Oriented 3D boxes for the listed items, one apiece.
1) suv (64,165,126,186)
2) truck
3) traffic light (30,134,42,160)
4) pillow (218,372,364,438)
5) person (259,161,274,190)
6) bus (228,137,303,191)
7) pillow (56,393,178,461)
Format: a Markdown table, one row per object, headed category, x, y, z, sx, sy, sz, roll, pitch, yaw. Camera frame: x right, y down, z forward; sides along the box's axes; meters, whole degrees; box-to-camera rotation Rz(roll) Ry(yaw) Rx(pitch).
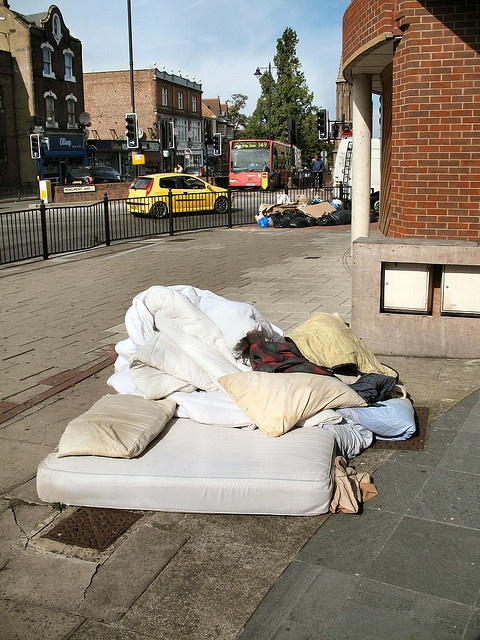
| category | x | y | z | sx | sy | sz | roll | pitch | yaw |
| --- | --- | --- | --- | --- | --- | --- | --- | --- | --- |
| suv | -9.710 | -9.565 | 34.257 | 2.097 | 1.791 | 3.452 | -1 | 6 | 27 |
| truck | 5.960 | -6.767 | 24.620 | 2.162 | 2.389 | 4.411 | 9 | 16 | 10 |
| traffic light | -11.591 | -9.907 | 29.149 | 0.474 | 1.372 | 1.051 | -5 | 5 | -17 |
| pillow | 0.353 | 0.504 | 3.332 | 0.528 | 0.137 | 0.469 | -2 | 20 | -26 |
| person | 1.879 | -10.390 | 36.869 | 0.665 | 2.040 | 1.207 | -2 | 5 | 18 |
| bus | 2.068 | -12.627 | 41.990 | 3.265 | 3.438 | 12.112 | 2 | 14 | 12 |
| pillow | -0.756 | 0.666 | 3.235 | 0.544 | 0.183 | 0.749 | -2 | 5 | 9 |
